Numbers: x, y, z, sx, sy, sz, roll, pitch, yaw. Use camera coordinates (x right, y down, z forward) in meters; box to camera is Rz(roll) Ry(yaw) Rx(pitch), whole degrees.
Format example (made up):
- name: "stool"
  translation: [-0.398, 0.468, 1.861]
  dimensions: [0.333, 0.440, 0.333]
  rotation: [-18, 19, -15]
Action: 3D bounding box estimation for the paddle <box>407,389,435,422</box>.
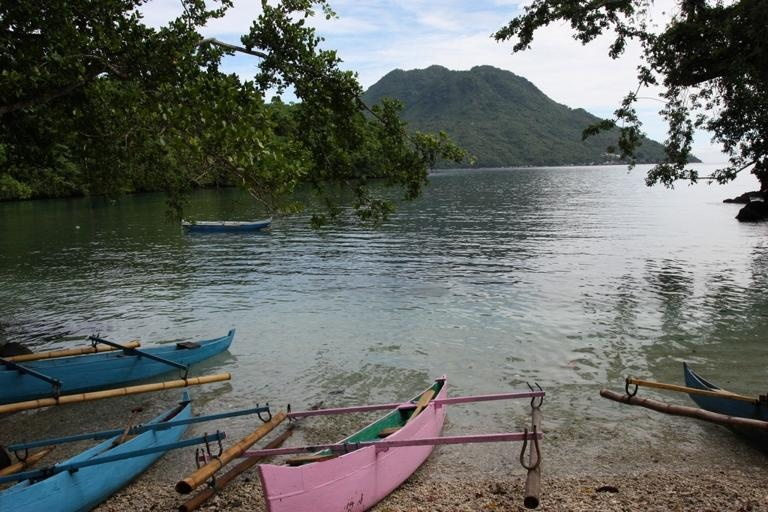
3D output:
- name: "paddle"
  translation: [1.325, 5.030, 18.361]
  dimensions: [0.339, 0.190, 2.033]
  rotation: [-9, 17, 21]
